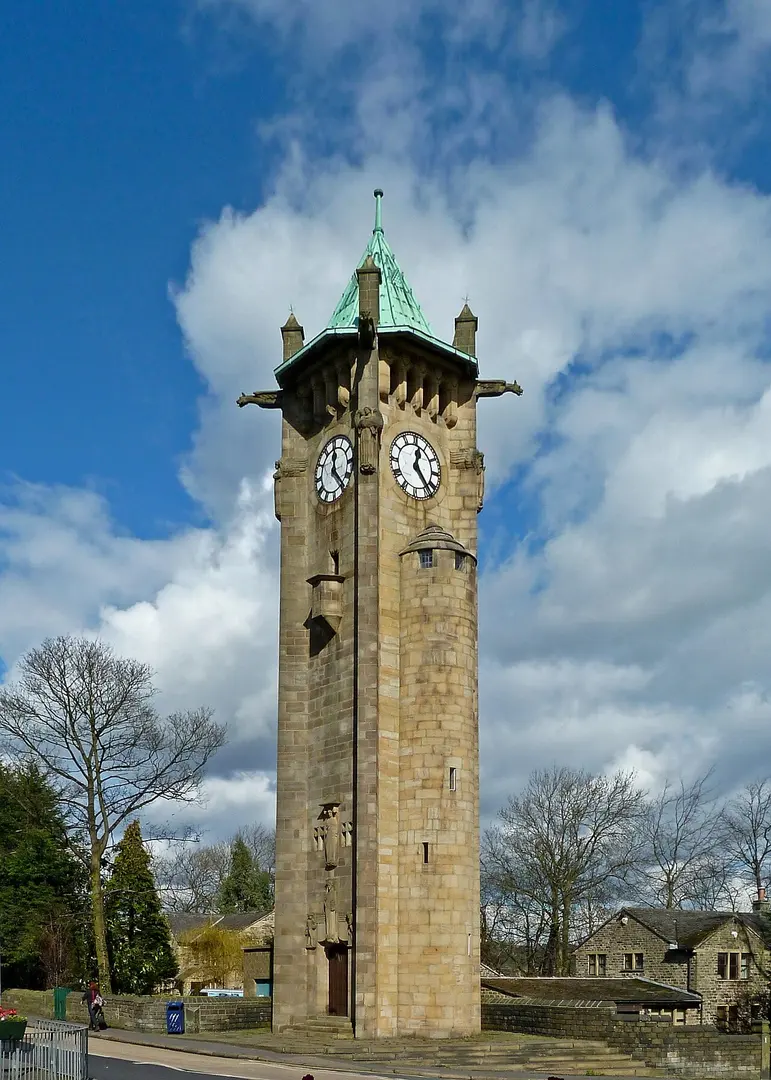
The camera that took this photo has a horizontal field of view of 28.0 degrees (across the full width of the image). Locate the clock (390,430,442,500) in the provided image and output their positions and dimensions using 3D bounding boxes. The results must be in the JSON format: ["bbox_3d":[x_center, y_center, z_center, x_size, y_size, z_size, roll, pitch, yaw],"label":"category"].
[{"bbox_3d":[1.033,-2.778,58.318,0.084,2.076,1.901,-16,-34,30],"label":"clock"}]

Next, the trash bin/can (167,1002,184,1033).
[{"bbox_3d":[-7.158,16.206,52.243,0.562,1.016,0.508,3,-19,-16],"label":"trash bin/can"}]

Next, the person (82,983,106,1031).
[{"bbox_3d":[-9.986,16.037,52.994,0.673,1.467,1.992,1,-20,-10],"label":"person"}]
